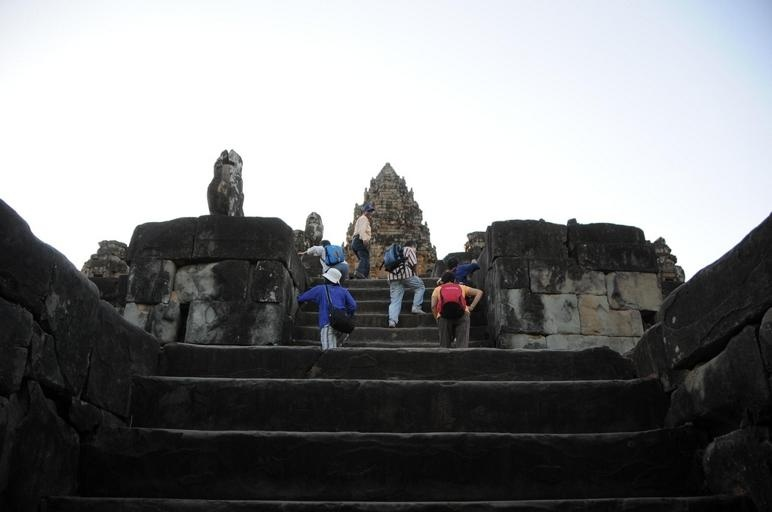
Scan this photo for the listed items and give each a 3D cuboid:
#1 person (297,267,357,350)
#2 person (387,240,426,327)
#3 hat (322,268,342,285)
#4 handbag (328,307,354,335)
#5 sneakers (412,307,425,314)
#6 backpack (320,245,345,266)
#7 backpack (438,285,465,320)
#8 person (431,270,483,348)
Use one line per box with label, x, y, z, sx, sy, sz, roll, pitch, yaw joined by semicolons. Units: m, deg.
person;-0.576;0.616;7.348;0.555;0.853;0.755;-3;11;-14
person;0.262;0.367;9.190;0.467;0.869;1.161;0;11;2
hat;-0.565;0.232;7.577;0.148;0.095;0.181;37;-2;16
handbag;-0.457;0.643;7.137;0.221;0.223;0.097;26;-59;-38
sneakers;0.406;0.680;9.062;0.178;0.082;0.068;1;-7;-19
backpack;-0.636;-0.001;8.411;0.193;0.205;0.187;2;-23;-28
backpack;0.695;0.485;7.589;0.279;0.333;0.350;0;10;3
person;0.769;0.686;7.662;0.436;1.065;0.442;-3;-7;12
